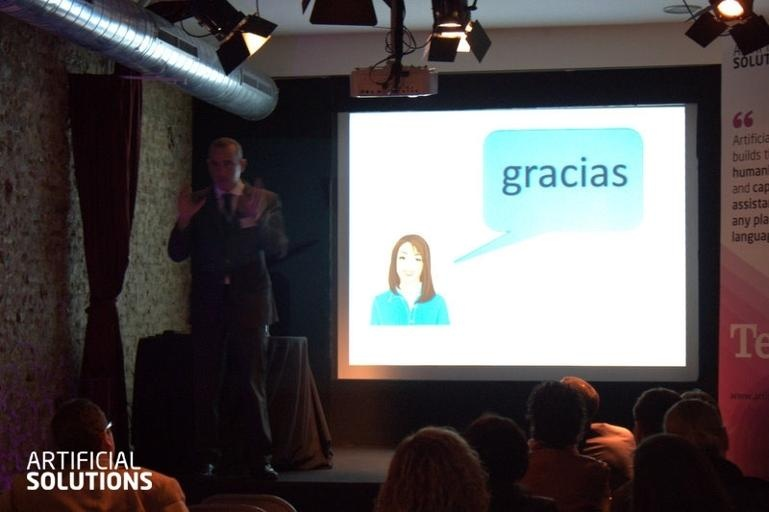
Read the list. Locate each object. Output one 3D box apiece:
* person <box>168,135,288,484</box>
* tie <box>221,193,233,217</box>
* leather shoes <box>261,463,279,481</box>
[{"bbox_3d":[-1.165,0.382,5.823,0.835,2.524,0.308,0,0,-9],"label":"person"},{"bbox_3d":[-1.197,-0.391,5.896,0.110,0.165,0.039,-5,-4,35],"label":"tie"},{"bbox_3d":[-0.857,1.619,5.784,0.151,0.068,0.067,-17,-23,40],"label":"leather shoes"}]
